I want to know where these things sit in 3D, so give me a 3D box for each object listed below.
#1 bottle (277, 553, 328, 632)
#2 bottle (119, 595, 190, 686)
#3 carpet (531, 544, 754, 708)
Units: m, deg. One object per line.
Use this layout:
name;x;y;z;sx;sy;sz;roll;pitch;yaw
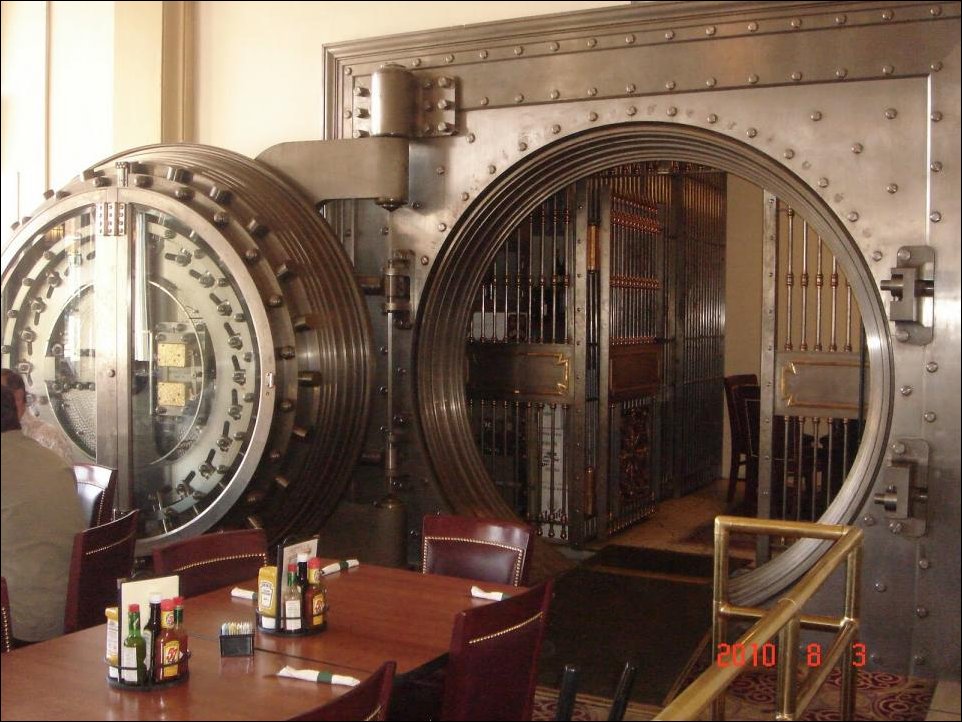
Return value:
bottle;-0.579;0.740;2.842;0.152;0.244;0.133;-1;8;-13
bottle;-0.904;0.798;2.570;0.197;0.227;0.205;0;-4;16
carpet;0.818;1.411;4.939;0.906;0.180;2.191;3;9;15
